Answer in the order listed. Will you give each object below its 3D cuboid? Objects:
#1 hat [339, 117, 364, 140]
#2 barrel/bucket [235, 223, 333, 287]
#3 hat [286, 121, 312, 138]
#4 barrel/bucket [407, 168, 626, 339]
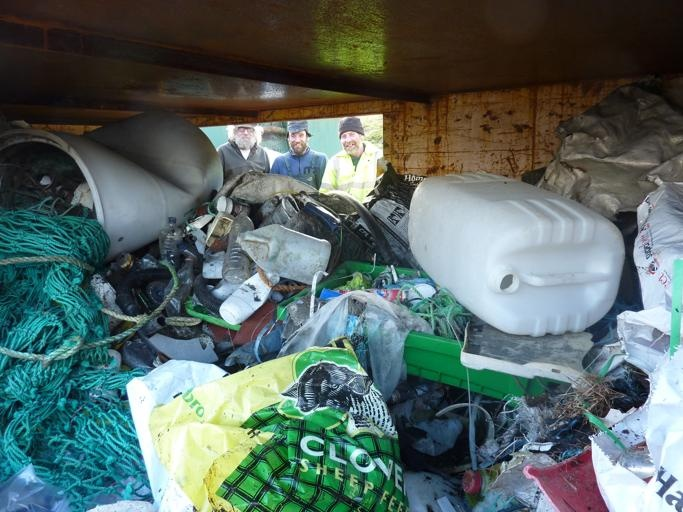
[{"bbox_3d":[0.118,-1.327,4.895,0.207,0.164,0.212,4,13,29],"label":"hat"},{"bbox_3d":[-0.243,-0.066,2.052,0.503,0.306,0.301,5,8,-6],"label":"barrel/bucket"},{"bbox_3d":[-0.450,-1.330,4.902,0.173,0.226,0.181,-10,21,-43],"label":"hat"},{"bbox_3d":[0.609,-0.031,1.843,0.475,0.518,0.751,-5,16,-31],"label":"barrel/bucket"}]
